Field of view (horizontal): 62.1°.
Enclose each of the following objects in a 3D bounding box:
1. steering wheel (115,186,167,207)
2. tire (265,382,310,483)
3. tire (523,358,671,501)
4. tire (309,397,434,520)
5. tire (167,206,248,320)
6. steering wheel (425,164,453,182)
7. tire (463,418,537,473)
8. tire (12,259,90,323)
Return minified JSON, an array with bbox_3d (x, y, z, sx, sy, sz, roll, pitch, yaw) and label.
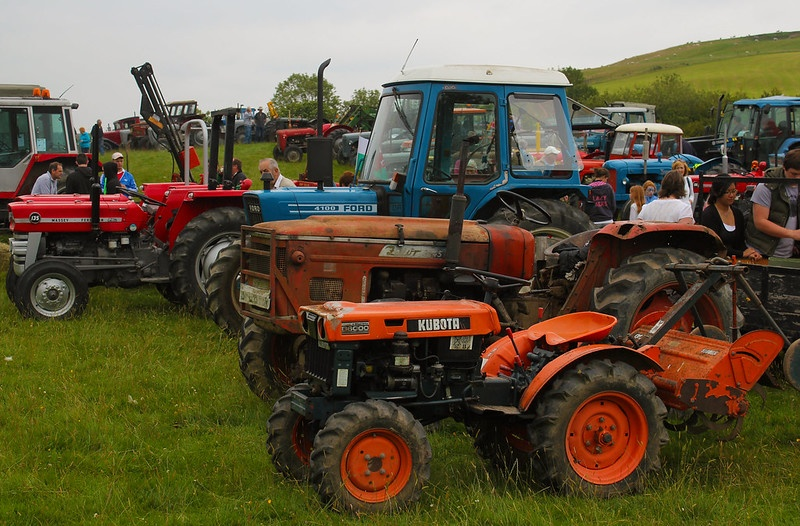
[{"bbox_3d":[-4.467,-1.151,11.400,0.655,0.205,0.656,19,2,-1],"label":"steering wheel"},{"bbox_3d":[-0.921,1.428,5.490,0.357,0.729,0.226,-1,12,-5],"label":"tire"},{"bbox_3d":[1.562,1.347,5.347,1.049,1.009,0.339,-5,1,-19],"label":"tire"},{"bbox_3d":[-0.238,1.504,5.023,0.843,0.839,0.269,1,-2,-17],"label":"tire"},{"bbox_3d":[-2.760,-0.018,9.600,1.665,1.653,0.544,-5,12,-41],"label":"tire"},{"bbox_3d":[0.506,-1.194,8.791,0.257,0.110,0.219,1,2,-8],"label":"steering wheel"},{"bbox_3d":[0.869,1.638,5.756,0.537,0.131,0.526,37,-18,-19],"label":"tire"},{"bbox_3d":[-5.288,0.425,10.020,0.899,0.901,0.345,3,-2,-10],"label":"tire"}]
